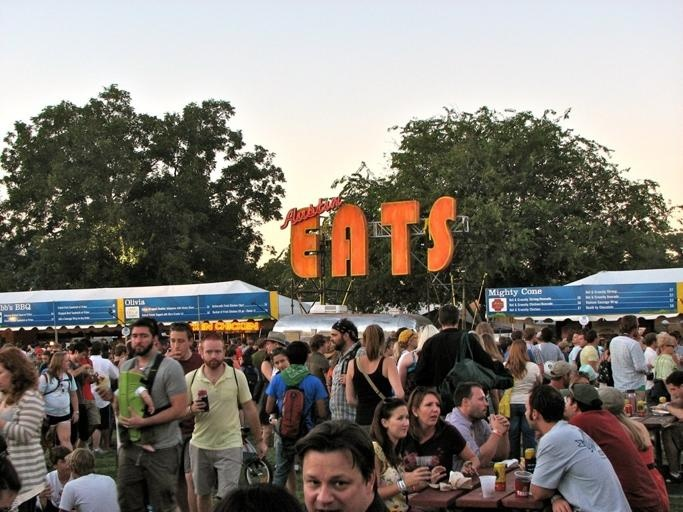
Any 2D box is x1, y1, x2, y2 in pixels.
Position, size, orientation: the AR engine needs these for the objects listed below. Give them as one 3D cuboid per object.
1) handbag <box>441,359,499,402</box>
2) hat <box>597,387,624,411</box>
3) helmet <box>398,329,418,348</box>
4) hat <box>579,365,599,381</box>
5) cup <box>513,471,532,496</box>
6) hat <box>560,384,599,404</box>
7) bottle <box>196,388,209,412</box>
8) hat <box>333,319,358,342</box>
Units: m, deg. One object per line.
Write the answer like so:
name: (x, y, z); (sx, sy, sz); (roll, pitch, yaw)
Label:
handbag: (1.810, 1.772, 12.868); (0.802, 0.608, 0.426); (-1, -4, 1)
hat: (3.461, 1.867, 11.734); (0.413, 0.275, 0.301); (2, -5, -35)
helmet: (1.160, 1.399, 15.457); (0.228, 0.275, 0.222); (28, -8, -34)
hat: (3.957, 1.885, 14.418); (0.210, 0.239, 0.553); (-4, -5, 33)
cup: (2.157, 2.701, 10.703); (0.199, 0.262, 0.264); (-2, -4, 11)
hat: (2.926, 1.766, 11.146); (0.447, 0.172, 0.299); (6, 15, 29)
bottle: (-1.803, 1.899, 11.789); (0.103, 0.292, 0.249); (-1, -4, 10)
hat: (0.080, 1.109, 13.368); (0.293, 0.340, 0.442); (-5, -6, 45)
